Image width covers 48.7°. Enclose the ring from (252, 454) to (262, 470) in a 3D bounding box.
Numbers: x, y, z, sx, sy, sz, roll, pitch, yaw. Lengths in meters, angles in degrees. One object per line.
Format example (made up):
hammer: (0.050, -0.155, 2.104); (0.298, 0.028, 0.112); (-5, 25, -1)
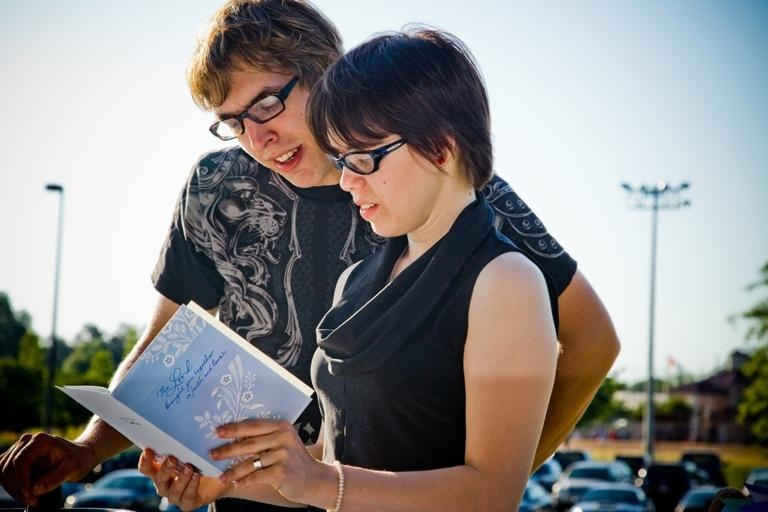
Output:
ring: (-0.537, 0.876, 3.576); (0.035, 0.055, 0.020); (-3, -7, 18)
